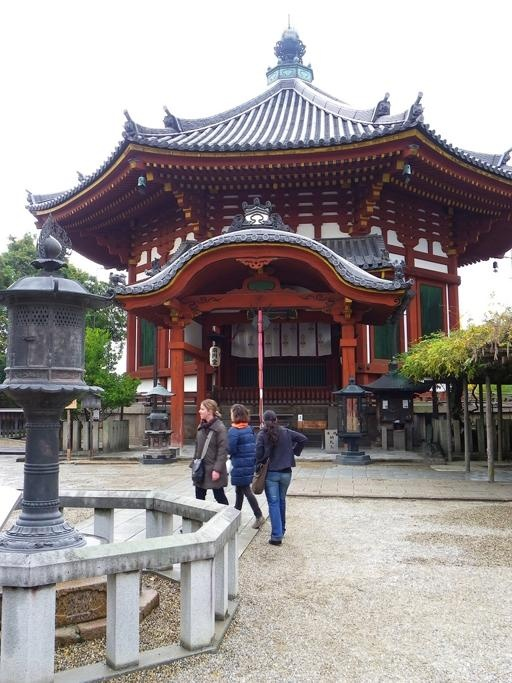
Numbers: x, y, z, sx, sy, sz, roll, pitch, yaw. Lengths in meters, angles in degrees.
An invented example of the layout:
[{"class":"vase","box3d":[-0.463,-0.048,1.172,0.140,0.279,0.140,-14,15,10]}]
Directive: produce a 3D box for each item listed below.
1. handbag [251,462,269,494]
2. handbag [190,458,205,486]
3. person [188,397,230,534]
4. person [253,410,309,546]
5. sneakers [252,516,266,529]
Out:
[{"class":"handbag","box3d":[0.038,1.384,6.591,0.122,0.315,0.253,22,-48,-2]},{"class":"handbag","box3d":[-0.616,1.361,6.671,0.125,0.294,0.179,2,-4,-33]},{"class":"person","box3d":[-0.485,1.169,6.785,0.368,1.095,0.675,0,-4,-4]},{"class":"person","box3d":[0.255,1.365,6.731,0.503,1.283,0.857,-1,-4,4]},{"class":"sneakers","box3d":[0.031,2.004,7.143,0.176,0.155,0.072,-1,-7,3]}]
